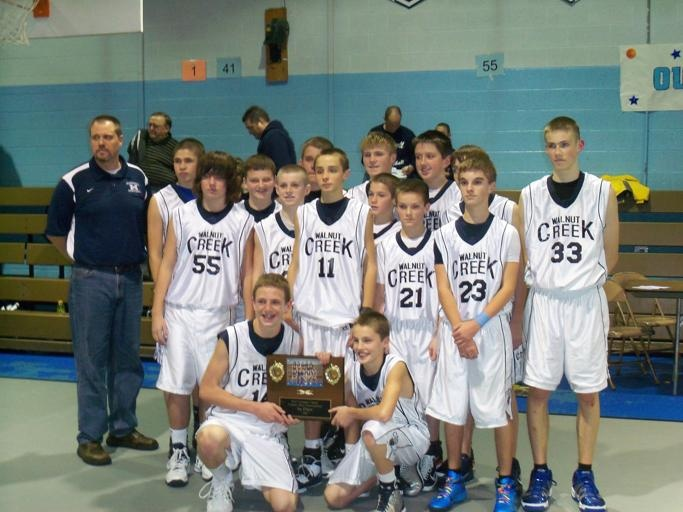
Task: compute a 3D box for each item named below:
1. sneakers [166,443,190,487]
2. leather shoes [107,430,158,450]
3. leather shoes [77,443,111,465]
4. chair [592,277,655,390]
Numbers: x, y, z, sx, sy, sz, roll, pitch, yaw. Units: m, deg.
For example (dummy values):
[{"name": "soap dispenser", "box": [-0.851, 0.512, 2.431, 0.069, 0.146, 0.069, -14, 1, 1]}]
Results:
[{"name": "sneakers", "box": [-1.184, 1.539, 5.373, 0.116, 0.151, 0.335, 0, 3, -5]}, {"name": "leather shoes", "box": [-1.659, 1.454, 5.962, 0.440, 0.196, 0.158, 1, -3, 3]}, {"name": "leather shoes", "box": [-1.892, 1.501, 5.667, 0.267, 0.126, 0.128, 2, 2, 39]}, {"name": "chair", "box": [2.891, 0.755, 7.520, 0.469, 0.865, 0.604, 5, 9, -28]}]
